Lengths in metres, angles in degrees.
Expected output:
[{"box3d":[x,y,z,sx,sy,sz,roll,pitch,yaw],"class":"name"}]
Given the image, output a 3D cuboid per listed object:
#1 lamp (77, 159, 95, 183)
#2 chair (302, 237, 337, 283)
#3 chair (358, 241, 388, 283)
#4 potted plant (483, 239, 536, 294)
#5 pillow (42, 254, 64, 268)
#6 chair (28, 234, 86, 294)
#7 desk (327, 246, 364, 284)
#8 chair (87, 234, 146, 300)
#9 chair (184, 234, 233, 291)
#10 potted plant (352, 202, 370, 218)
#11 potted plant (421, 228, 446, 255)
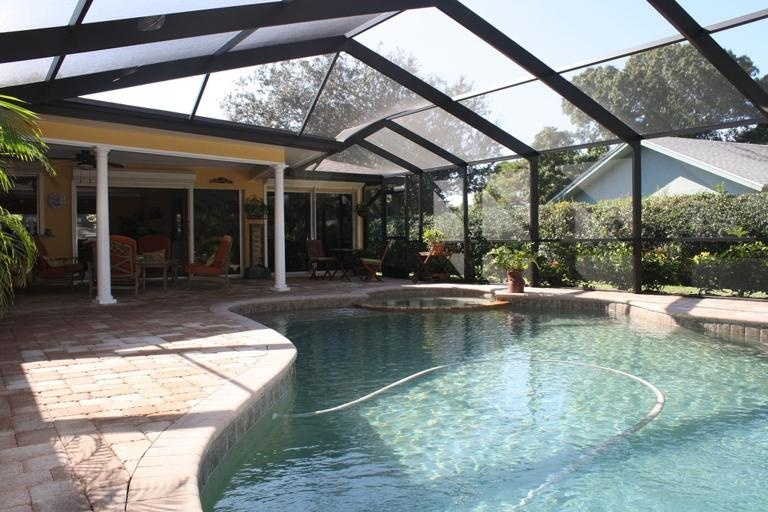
[{"box3d":[-7.023,-1.992,12.150,0.537,0.439,0.233,0,2,-31],"class":"lamp"},{"box3d":[-1.843,0.047,15.247,0.871,1.186,2.391,-2,9,-6],"class":"chair"},{"box3d":[-0.072,0.186,14.710,1.211,1.263,1.013,0,-2,-9],"class":"chair"},{"box3d":[2.845,0.209,11.759,1.239,1.001,1.164,0,-10,0],"class":"potted plant"},{"box3d":[-7.641,0.100,11.934,0.389,0.397,0.281,-8,-7,30],"class":"pillow"},{"box3d":[-7.531,0.169,11.916,0.906,1.380,2.068,-7,11,-33],"class":"chair"},{"box3d":[-1.402,0.321,16.223,1.189,0.859,1.093,10,9,-3],"class":"desk"},{"box3d":[-5.564,0.276,10.690,1.315,1.263,1.164,-4,-2,4],"class":"chair"},{"box3d":[-4.162,0.116,12.186,1.085,1.112,0.997,-3,7,-38],"class":"chair"},{"box3d":[-0.724,-1.419,16.383,0.436,0.370,0.421,0,0,34],"class":"potted plant"},{"box3d":[1.381,-0.407,14.180,0.876,0.780,0.698,0,-4,-34],"class":"potted plant"}]
